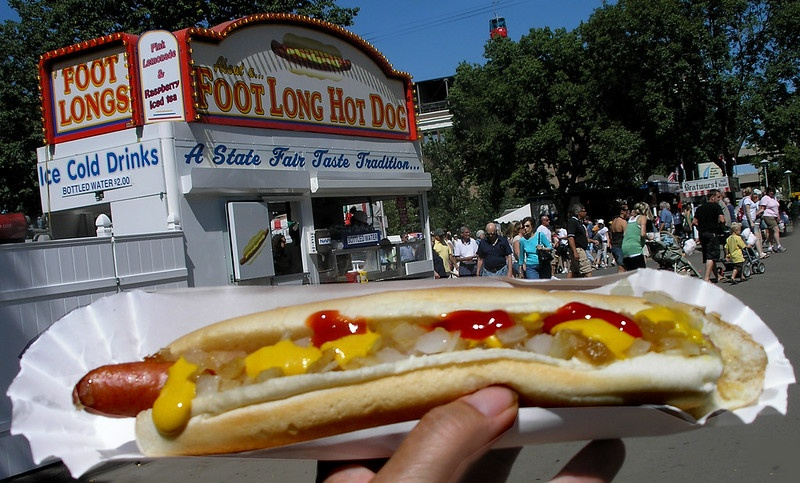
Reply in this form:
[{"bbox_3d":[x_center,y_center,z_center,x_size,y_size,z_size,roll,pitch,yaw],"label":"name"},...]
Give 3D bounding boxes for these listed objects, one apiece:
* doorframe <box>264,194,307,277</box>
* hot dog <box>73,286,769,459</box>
[{"bbox_3d":[-2.524,-0.120,12.469,0.559,1.845,0.679,0,-1,27],"label":"doorframe"},{"bbox_3d":[0.022,0.814,3.633,3.832,0.941,0.391,-4,-1,3],"label":"hot dog"}]
